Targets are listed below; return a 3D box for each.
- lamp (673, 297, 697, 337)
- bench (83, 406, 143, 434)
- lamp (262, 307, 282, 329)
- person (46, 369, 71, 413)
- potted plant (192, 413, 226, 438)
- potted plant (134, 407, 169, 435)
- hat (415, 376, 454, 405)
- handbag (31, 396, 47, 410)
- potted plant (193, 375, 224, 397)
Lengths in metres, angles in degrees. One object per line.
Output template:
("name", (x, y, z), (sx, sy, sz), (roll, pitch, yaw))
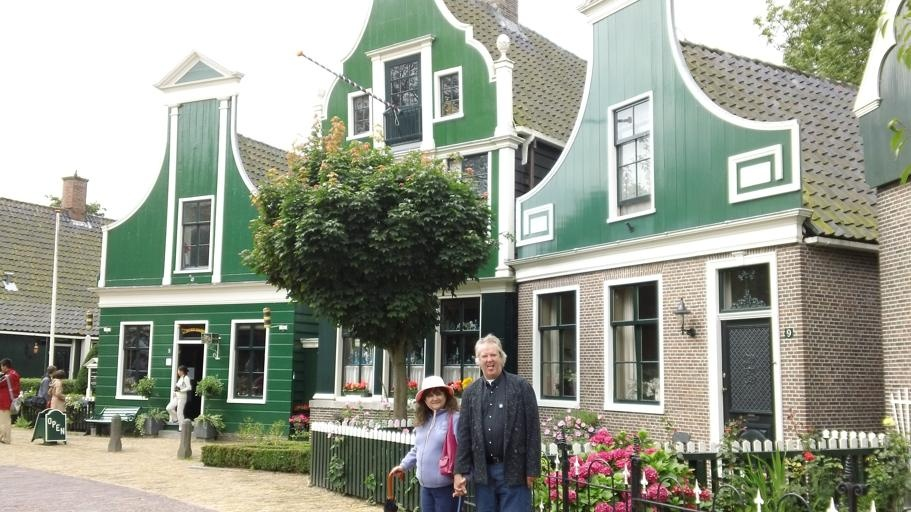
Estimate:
("lamp", (6.190, 1.634, 25.008), (0.544, 1.080, 0.254), (-4, -15, 19))
("bench", (-12.725, 5.993, 34.261), (2.261, 1.123, 1.330), (-7, -16, 26))
("lamp", (-6.544, 2.178, 33.182), (0.938, 0.853, 0.500), (-2, -14, 12))
("person", (-13.465, 4.494, 31.347), (0.540, 1.532, 1.515), (7, -15, -23))
("potted plant", (-8.905, 6.062, 33.562), (0.887, 0.891, 0.895), (-9, -12, 37))
("potted plant", (-11.136, 6.040, 34.041), (1.100, 1.026, 0.479), (6, -15, -20))
("hat", (-0.472, 2.663, 19.187), (0.614, 0.308, 0.610), (-18, -26, -1))
("handbag", (-14.115, 4.959, 31.616), (0.618, 0.398, 0.371), (-8, -17, 32))
("potted plant", (-8.932, 4.726, 33.587), (0.817, 0.775, 0.784), (-9, 7, 8))
